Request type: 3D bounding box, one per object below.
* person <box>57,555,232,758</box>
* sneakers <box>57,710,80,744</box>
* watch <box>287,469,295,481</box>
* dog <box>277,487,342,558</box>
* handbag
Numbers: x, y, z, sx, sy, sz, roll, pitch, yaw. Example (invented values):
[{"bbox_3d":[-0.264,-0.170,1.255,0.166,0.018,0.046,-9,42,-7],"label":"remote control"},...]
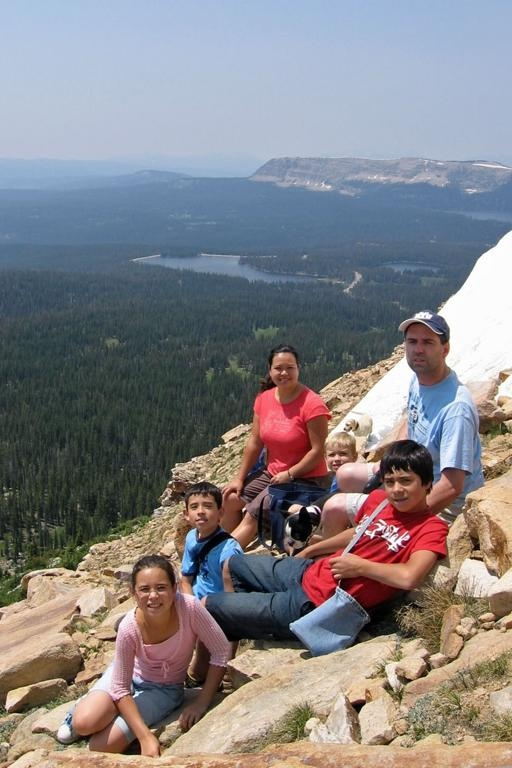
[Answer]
[{"bbox_3d":[-0.676,1.714,3.897,0.787,1.007,0.781,7,16,24],"label":"person"},{"bbox_3d":[-1.204,2.220,4.030,0.109,0.121,0.262,-6,-9,-2],"label":"sneakers"},{"bbox_3d":[0.340,0.918,6.135,0.028,0.080,0.074,-7,-9,25],"label":"watch"},{"bbox_3d":[0.363,1.260,5.387,0.238,0.438,0.607,3,2,17],"label":"dog"},{"bbox_3d":[0.463,1.569,4.037,0.445,0.307,0.389,-38,-19,-2],"label":"handbag"}]
